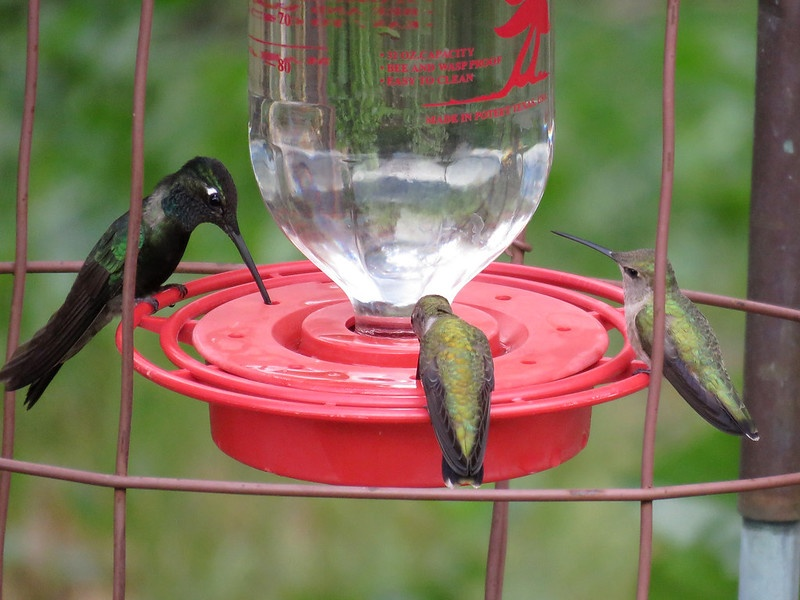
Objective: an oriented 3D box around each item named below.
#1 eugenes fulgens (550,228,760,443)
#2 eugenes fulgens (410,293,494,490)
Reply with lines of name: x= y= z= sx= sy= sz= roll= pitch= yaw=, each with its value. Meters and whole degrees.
eugenes fulgens: x=0.465 y=0.051 z=1.923 sx=0.381 sy=0.204 sz=0.134 roll=35 pitch=41 yaw=28
eugenes fulgens: x=0.076 y=0.120 z=1.590 sx=0.080 sy=0.114 sz=0.271 roll=-2 pitch=39 yaw=-15
